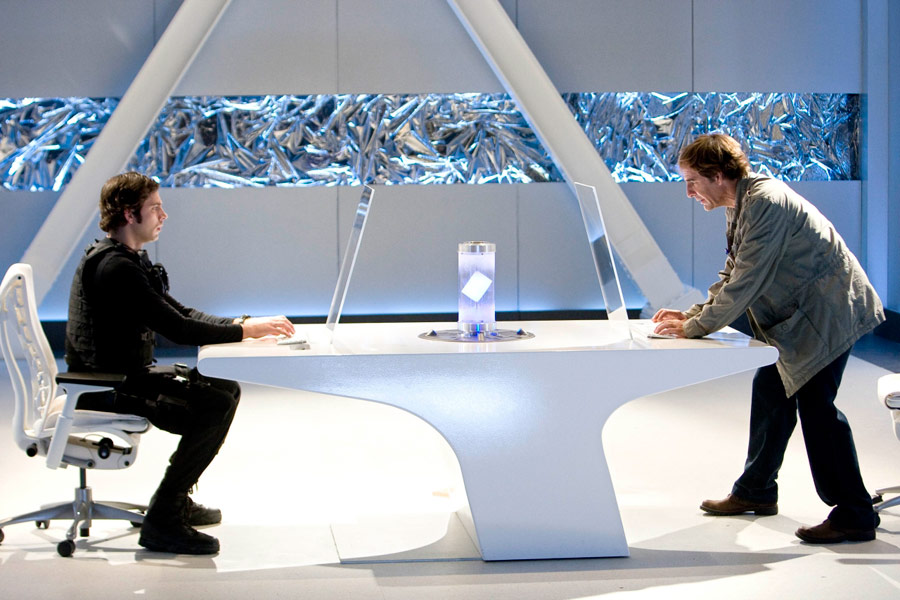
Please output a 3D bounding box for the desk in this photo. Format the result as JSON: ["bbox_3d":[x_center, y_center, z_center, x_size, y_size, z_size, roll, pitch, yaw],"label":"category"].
[{"bbox_3d":[0.141,0.620,4.830,3.145,1.265,1.093,1,22,-5],"label":"desk"}]

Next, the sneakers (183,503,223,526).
[{"bbox_3d":[-1.369,1.193,4.707,0.242,0.109,0.083,0,-1,-11],"label":"sneakers"}]

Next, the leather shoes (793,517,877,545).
[{"bbox_3d":[2.034,1.212,4.430,0.362,0.137,0.159,2,-10,-1],"label":"leather shoes"}]

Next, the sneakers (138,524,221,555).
[{"bbox_3d":[-1.400,1.251,4.472,0.458,0.227,0.163,2,-4,-7],"label":"sneakers"}]

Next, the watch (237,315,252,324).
[{"bbox_3d":[-1.126,0.109,4.588,0.058,0.031,0.083,-4,4,-29],"label":"watch"}]
